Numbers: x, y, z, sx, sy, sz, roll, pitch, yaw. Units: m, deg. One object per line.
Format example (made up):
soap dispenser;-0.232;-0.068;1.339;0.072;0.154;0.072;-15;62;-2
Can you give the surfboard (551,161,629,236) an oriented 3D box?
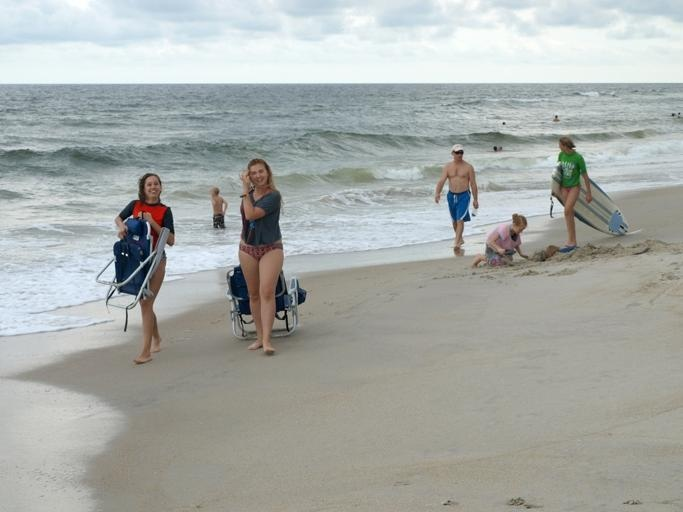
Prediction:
surfboard;3.924;-0.720;10.627;0.505;0.377;1.633;-40;36;12

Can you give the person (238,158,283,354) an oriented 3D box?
person;-0.742;0.002;6.307;0.397;1.740;0.518;1;16;11

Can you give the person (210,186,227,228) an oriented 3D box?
person;-2.514;-1.057;14.314;0.319;0.811;1.212;-5;15;-10

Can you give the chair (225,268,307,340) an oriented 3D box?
chair;-0.754;0.464;7.168;0.720;0.707;0.834;0;15;4

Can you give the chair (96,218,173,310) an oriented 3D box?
chair;-1.928;-0.004;6.386;0.572;0.817;0.500;8;7;37

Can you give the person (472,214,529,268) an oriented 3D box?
person;2.074;-0.158;9.026;0.534;0.815;0.657;-3;17;-34

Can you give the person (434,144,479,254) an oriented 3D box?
person;1.830;-0.914;10.928;0.650;1.677;1.234;0;15;10
